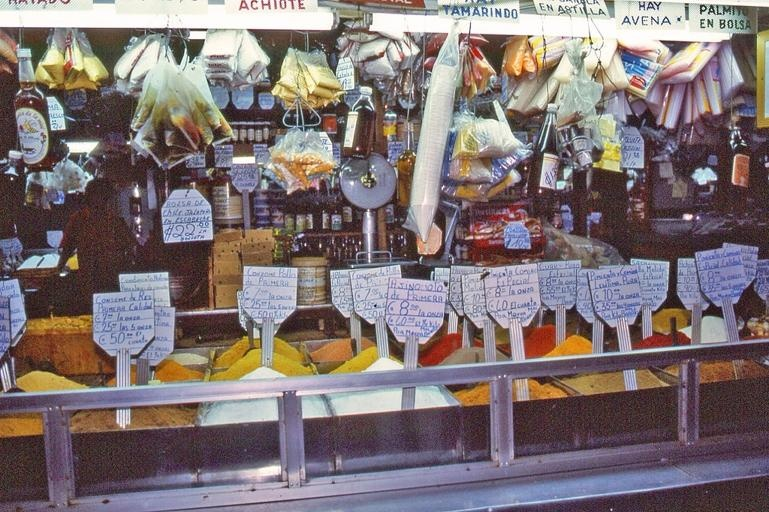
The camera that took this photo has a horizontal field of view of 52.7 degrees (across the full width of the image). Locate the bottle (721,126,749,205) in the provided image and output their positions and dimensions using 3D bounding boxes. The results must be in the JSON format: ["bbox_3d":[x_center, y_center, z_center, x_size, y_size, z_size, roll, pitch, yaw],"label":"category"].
[{"bbox_3d":[2.020,-0.498,4.446,0.160,0.484,0.136,-3,8,0],"label":"bottle"}]

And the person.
[{"bbox_3d":[-1.505,-0.051,4.062,0.383,0.712,0.142,0,8,15],"label":"person"}]

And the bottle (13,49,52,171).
[{"bbox_3d":[-1.751,-0.732,3.804,0.176,0.566,0.086,-2,8,3],"label":"bottle"}]

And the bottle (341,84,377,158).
[{"bbox_3d":[-0.136,-0.708,4.062,0.173,0.361,0.171,-3,8,0],"label":"bottle"}]

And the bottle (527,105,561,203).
[{"bbox_3d":[0.817,-0.559,4.015,0.131,0.449,0.250,-3,8,-5],"label":"bottle"}]
